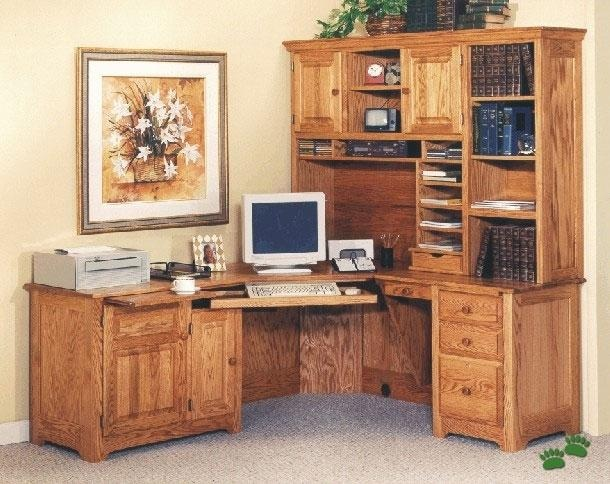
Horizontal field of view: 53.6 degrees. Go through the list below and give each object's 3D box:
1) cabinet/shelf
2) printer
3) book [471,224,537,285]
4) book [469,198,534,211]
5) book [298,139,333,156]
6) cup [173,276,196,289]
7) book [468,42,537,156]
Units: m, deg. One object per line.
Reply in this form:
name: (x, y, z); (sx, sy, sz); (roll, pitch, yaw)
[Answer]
cabinet/shelf: (0.235, -0.051, 3.816); (2.952, 2.554, 1.443); (-4, 11, -1)
printer: (-1.279, 0.142, 3.416); (0.356, 0.140, 0.372); (6, 8, 38)
book: (1.149, 0.080, 3.687); (0.351, 0.386, 0.434); (0, 1, -1)
book: (1.190, -0.225, 3.643); (0.363, 0.052, 0.217); (1, 11, 24)
book: (0.080, -0.677, 4.315); (0.163, 0.061, 0.201); (1, 2, 9)
cup: (-0.689, 0.232, 3.447); (0.105, 0.051, 0.074); (-2, 5, -33)
book: (1.149, -0.842, 3.555); (0.377, 0.658, 0.204); (0, 13, 25)
